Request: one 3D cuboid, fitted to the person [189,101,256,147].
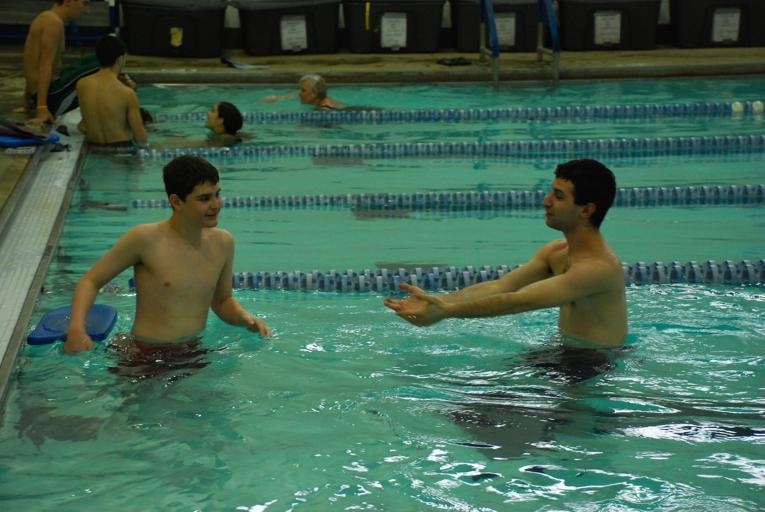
[{"bbox_3d":[-1.870,-1.537,8.131,0.460,0.409,1.086,26,32,34],"label":"person"}]

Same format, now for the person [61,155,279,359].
[{"bbox_3d":[-1.178,-0.028,3.722,1.026,1.021,0.359,-4,7,-23],"label":"person"}]

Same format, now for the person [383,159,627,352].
[{"bbox_3d":[0.794,-0.002,3.737,1.102,1.024,0.513,-1,7,2],"label":"person"}]

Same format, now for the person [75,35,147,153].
[{"bbox_3d":[-2.778,-1.659,7.091,0.627,1.019,0.642,-4,7,-18],"label":"person"}]
